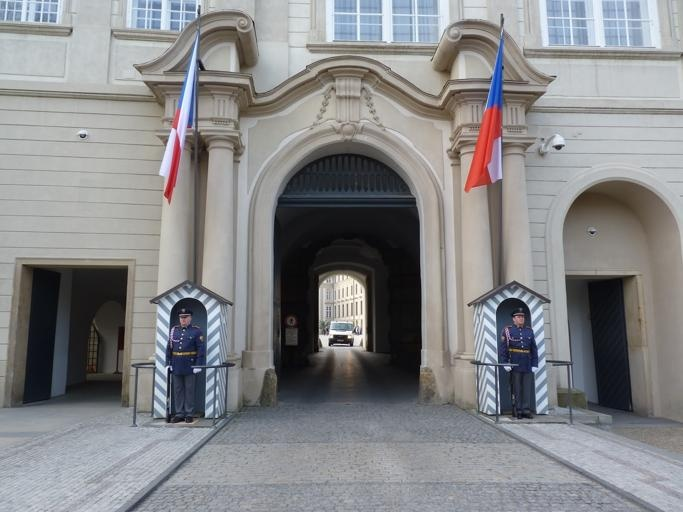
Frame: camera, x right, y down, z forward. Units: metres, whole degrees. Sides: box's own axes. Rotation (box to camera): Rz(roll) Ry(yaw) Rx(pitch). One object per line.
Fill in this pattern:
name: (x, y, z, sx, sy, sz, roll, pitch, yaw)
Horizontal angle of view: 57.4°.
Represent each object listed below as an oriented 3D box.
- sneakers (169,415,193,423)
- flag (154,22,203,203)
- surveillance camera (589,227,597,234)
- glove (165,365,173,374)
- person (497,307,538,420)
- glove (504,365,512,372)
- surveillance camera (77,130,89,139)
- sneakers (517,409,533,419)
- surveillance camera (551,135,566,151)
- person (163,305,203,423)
sneakers: (-2.951, 3.006, 11.509, 0.439, 0.124, 0.256, 0, -7, 0)
flag: (-3.226, -2.937, 12.561, 0.649, 3.651, 0.942, 2, -7, -13)
surveillance camera: (6.165, -0.617, 15.223, 0.272, 0.182, 0.113, 7, -10, -44)
glove: (-3.183, 2.081, 11.515, 0.037, 0.141, 0.097, -13, -8, -32)
person: (3.428, 2.037, 11.892, 0.632, 2.051, 0.358, 3, -7, -20)
glove: (3.220, 2.163, 12.039, 0.046, 0.176, 0.180, -9, 5, -29)
surveillance camera: (-5.727, -2.713, 13.789, 0.188, 0.194, 0.201, 0, -4, -11)
sneakers: (3.500, 2.998, 11.833, 0.371, 0.132, 0.182, 2, -7, -12)
surveillance camera: (4.819, -2.491, 13.681, 0.254, 0.345, 0.371, 0, -4, 1)
person: (-2.902, 2.020, 11.568, 0.741, 2.069, 0.371, -2, -7, 18)
